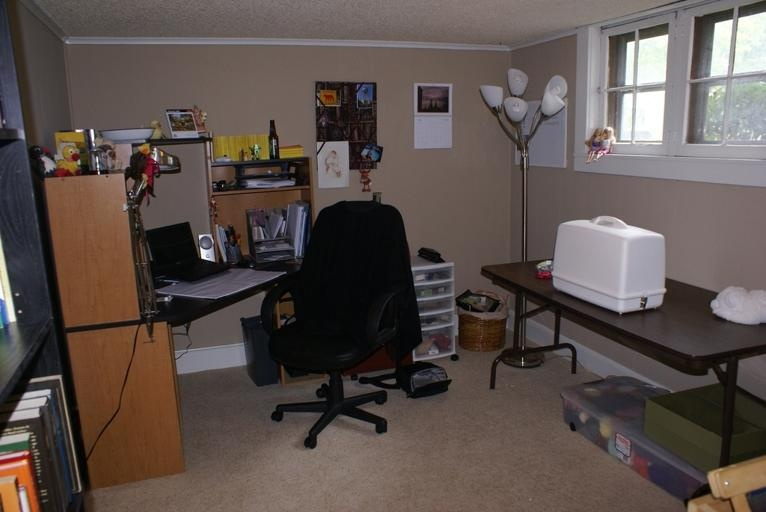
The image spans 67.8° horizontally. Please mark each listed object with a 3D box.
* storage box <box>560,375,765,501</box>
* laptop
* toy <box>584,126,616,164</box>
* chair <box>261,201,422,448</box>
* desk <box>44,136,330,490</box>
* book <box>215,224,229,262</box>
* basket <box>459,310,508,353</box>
[{"bbox_3d":[1.546,1.085,3.632,0.675,0.187,0.685,-9,13,-30],"label":"storage box"},{"bbox_3d":[-1.400,-0.004,4.092,0.437,0.319,0.499,9,15,17],"label":"laptop"},{"bbox_3d":[1.639,-0.839,4.324,0.170,0.252,0.083,20,43,23],"label":"toy"},{"bbox_3d":[-0.278,0.410,3.795,1.020,1.429,0.836,3,12,18],"label":"chair"},{"bbox_3d":[-1.229,0.231,4.450,1.530,2.197,2.177,-2,13,-9],"label":"desk"},{"bbox_3d":[-1.232,-0.091,4.388,0.053,0.225,0.225,-1,10,-13],"label":"book"},{"bbox_3d":[0.869,0.625,4.920,0.362,0.283,0.351,2,5,9],"label":"basket"}]
